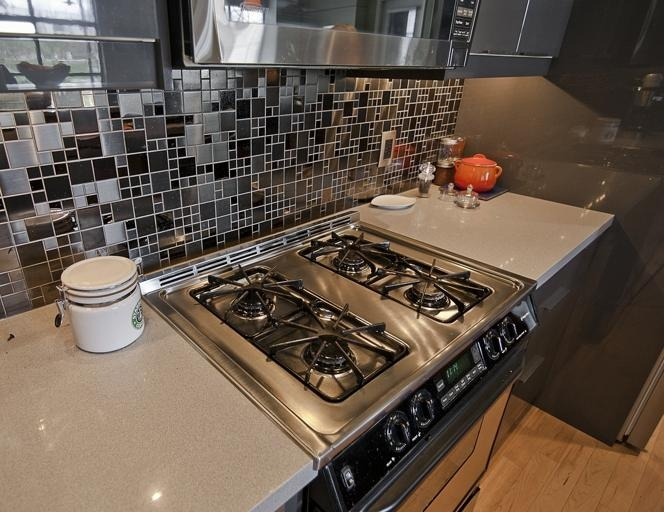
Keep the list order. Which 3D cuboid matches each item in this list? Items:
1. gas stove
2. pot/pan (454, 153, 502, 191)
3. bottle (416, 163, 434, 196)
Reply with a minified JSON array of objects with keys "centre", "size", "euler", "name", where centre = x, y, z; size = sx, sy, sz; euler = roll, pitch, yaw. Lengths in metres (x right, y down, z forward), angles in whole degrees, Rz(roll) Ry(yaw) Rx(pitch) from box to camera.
[{"centre":[0.009,0.163,1.197],"size":[0.691,0.098,0.528],"euler":[-23,37,-39],"name":"gas stove"},{"centre":[0.741,-0.413,2.163],"size":[0.249,0.171,0.185],"euler":[10,33,12],"name":"pot/pan"},{"centre":[0.474,-0.405,2.155],"size":[0.076,0.160,0.209],"euler":[7,28,12],"name":"bottle"}]
